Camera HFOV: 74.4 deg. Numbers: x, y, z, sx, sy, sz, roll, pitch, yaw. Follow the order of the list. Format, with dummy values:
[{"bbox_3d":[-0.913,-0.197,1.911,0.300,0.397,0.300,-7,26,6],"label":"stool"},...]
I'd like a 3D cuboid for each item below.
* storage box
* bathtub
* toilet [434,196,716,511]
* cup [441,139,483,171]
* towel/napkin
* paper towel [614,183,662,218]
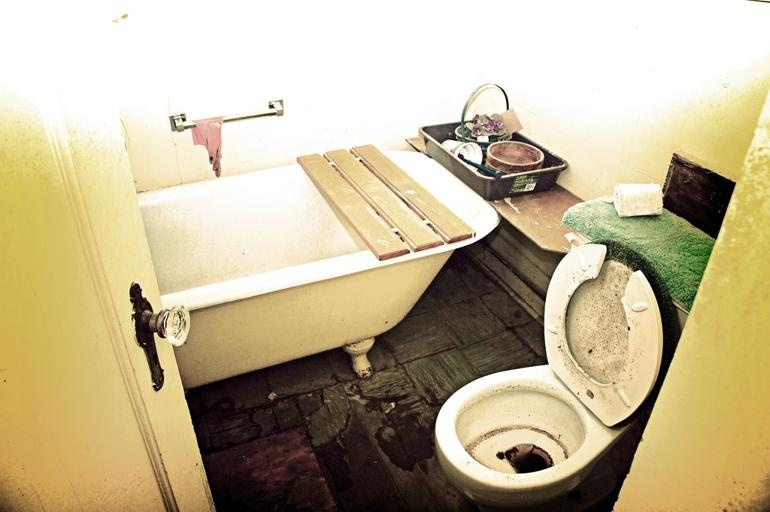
[{"bbox_3d":[0.405,-0.463,2.493,0.416,0.121,0.599,-14,35,-20],"label":"storage box"},{"bbox_3d":[-0.495,-0.024,2.389,1.765,0.729,1.031,-12,41,-16],"label":"bathtub"},{"bbox_3d":[0.599,0.319,1.649,0.866,1.052,0.532,-15,40,-10],"label":"toilet"},{"bbox_3d":[0.395,-0.465,2.481,0.173,0.158,0.167,-5,24,2],"label":"cup"},{"bbox_3d":[0.797,-0.006,1.602,0.271,0.099,0.375,-21,35,-20],"label":"towel/napkin"},{"bbox_3d":[0.814,-0.183,1.669,0.153,0.110,0.106,0,25,7],"label":"paper towel"}]
